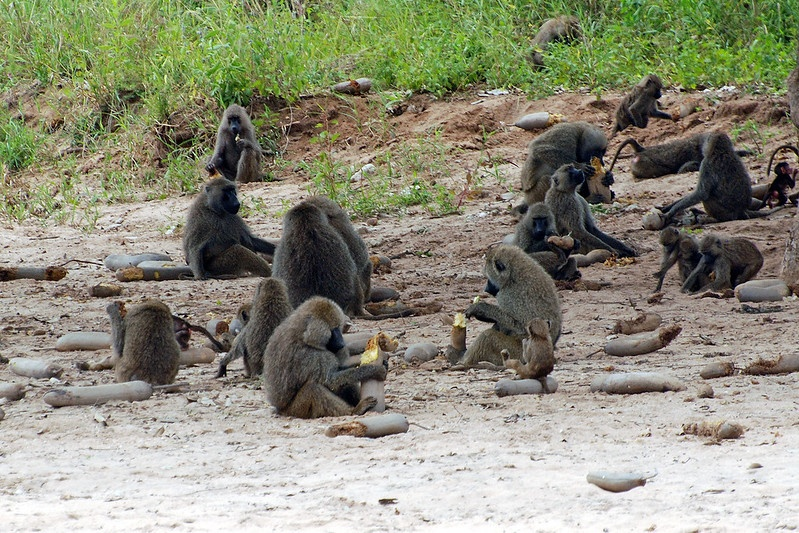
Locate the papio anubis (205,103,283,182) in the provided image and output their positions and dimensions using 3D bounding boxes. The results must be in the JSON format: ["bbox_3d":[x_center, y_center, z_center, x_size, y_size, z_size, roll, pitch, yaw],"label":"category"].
[{"bbox_3d":[-2.528,-1.942,20.412,0.958,1.158,1.642,2,1,29],"label":"papio anubis"}]

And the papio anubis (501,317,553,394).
[{"bbox_3d":[1.249,0.761,11.247,0.344,0.571,0.758,-4,19,-24],"label":"papio anubis"}]

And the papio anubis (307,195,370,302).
[{"bbox_3d":[-0.660,-0.158,13.589,0.401,1.301,0.655,-23,-10,27],"label":"papio anubis"}]

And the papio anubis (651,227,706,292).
[{"bbox_3d":[3.237,-0.104,14.333,0.969,0.745,0.325,-4,11,-40],"label":"papio anubis"}]

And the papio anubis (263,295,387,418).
[{"bbox_3d":[-0.688,0.831,11.178,1.145,0.972,0.742,-7,6,-4],"label":"papio anubis"}]

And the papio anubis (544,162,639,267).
[{"bbox_3d":[2.272,-0.586,15.285,1.449,1.146,0.640,5,6,-7],"label":"papio anubis"}]

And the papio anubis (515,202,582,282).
[{"bbox_3d":[1.692,-0.302,14.449,0.708,0.927,0.651,5,22,44],"label":"papio anubis"}]

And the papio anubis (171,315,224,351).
[{"bbox_3d":[-1.957,0.675,12.391,0.770,0.295,0.420,-6,-1,34],"label":"papio anubis"}]

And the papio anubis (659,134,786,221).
[{"bbox_3d":[4.110,-1.101,15.753,1.657,1.193,0.603,7,16,39],"label":"papio anubis"}]

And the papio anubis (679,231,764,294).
[{"bbox_3d":[3.628,-0.081,13.928,0.944,0.542,0.550,-8,14,-26],"label":"papio anubis"}]

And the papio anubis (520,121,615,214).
[{"bbox_3d":[2.144,-1.368,16.788,1.473,1.021,0.923,4,10,13],"label":"papio anubis"}]

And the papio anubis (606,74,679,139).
[{"bbox_3d":[3.546,-2.358,18.403,0.789,0.846,0.582,4,10,36],"label":"papio anubis"}]

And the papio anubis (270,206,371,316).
[{"bbox_3d":[-0.699,-0.186,13.498,0.876,0.866,1.512,-27,19,-5],"label":"papio anubis"}]
